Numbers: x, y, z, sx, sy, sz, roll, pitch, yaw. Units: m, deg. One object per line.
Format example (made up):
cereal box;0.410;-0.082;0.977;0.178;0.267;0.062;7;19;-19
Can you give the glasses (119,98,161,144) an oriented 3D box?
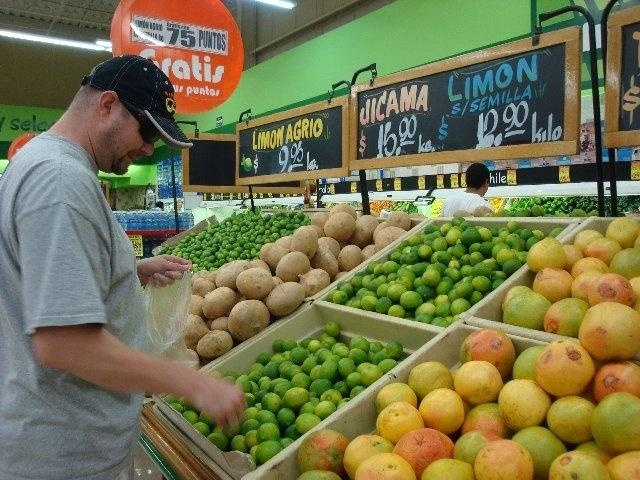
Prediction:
glasses;-0.633;-0.406;1.654;0.046;0.136;0.101;-20;-4;9

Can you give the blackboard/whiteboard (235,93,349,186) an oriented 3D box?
blackboard/whiteboard;-0.281;-0.861;4.276;0.187;0.672;1.514;-10;10;-40
